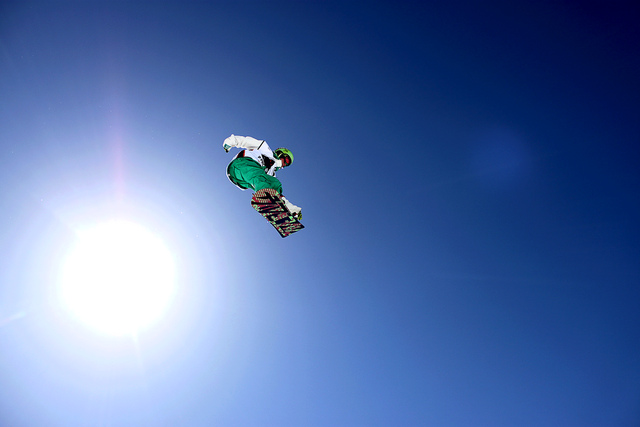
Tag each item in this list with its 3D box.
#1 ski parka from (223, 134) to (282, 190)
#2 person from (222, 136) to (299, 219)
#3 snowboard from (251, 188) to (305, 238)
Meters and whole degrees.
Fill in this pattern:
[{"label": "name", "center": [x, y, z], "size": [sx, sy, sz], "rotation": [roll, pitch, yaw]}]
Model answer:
[{"label": "ski parka", "center": [-0.529, -0.519, 4.718], "size": [0.418, 0.398, 0.418], "rotation": [-2, -24, -9]}, {"label": "person", "center": [-0.465, -0.474, 4.790], "size": [0.695, 0.764, 0.444], "rotation": [16, -60, -4]}, {"label": "snowboard", "center": [-0.322, -0.046, 4.667], "size": [0.215, 0.168, 0.477], "rotation": [-33, -50, 28]}]
